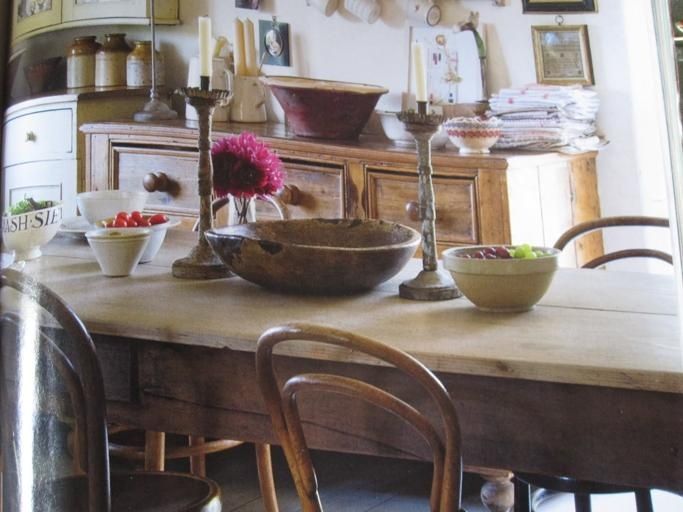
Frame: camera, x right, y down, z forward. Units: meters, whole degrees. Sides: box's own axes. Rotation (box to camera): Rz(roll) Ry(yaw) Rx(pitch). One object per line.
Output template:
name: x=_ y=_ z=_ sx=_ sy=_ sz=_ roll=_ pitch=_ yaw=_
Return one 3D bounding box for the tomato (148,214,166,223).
tomato: x=-0.273 y=-0.052 z=1.031 sx=0.016 sy=0.011 sz=0.019 roll=-1 pitch=0 yaw=-25

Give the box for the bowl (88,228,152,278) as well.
bowl: x=-0.296 y=-0.005 z=0.913 sx=0.074 sy=0.047 sz=0.072 roll=0 pitch=1 yaw=0

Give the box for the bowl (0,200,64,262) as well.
bowl: x=-0.270 y=-0.019 z=0.606 sx=0.058 sy=0.041 sz=0.059 roll=-2 pitch=11 yaw=0

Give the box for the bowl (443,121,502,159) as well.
bowl: x=0.266 y=-0.235 z=1.413 sx=0.116 sy=0.063 sz=0.113 roll=-2 pitch=10 yaw=0

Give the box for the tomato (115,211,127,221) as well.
tomato: x=-0.328 y=-0.056 z=1.028 sx=0.016 sy=0.010 sz=0.018 roll=-1 pitch=1 yaw=-4

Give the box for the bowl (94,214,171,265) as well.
bowl: x=-0.299 y=-0.032 z=1.028 sx=0.098 sy=0.045 sz=0.081 roll=-3 pitch=6 yaw=-17

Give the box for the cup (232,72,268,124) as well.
cup: x=-0.225 y=-0.396 z=1.752 sx=0.099 sy=0.107 sz=0.103 roll=-2 pitch=20 yaw=1

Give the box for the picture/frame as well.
picture/frame: x=0.290 y=-0.260 z=0.904 sx=0.006 sy=0.075 sz=0.081 roll=-34 pitch=32 yaw=-31

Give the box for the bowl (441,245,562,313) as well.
bowl: x=0.175 y=0.029 z=0.748 sx=0.095 sy=0.046 sz=0.091 roll=0 pitch=-1 yaw=0

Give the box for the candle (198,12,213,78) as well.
candle: x=-0.173 y=-0.266 z=0.889 sx=0.019 sy=0.074 sz=0.018 roll=-5 pitch=19 yaw=-25

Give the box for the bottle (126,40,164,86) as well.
bottle: x=-0.203 y=-0.199 z=0.720 sx=0.041 sy=0.042 sz=0.039 roll=2 pitch=21 yaw=-1

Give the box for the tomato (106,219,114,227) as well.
tomato: x=-0.342 y=-0.046 z=1.021 sx=0.015 sy=0.010 sz=0.014 roll=3 pitch=-2 yaw=-27

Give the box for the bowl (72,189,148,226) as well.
bowl: x=-0.377 y=-0.074 z=1.122 sx=0.104 sy=0.052 sz=0.098 roll=-4 pitch=-11 yaw=-1

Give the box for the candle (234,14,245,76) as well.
candle: x=-0.251 y=-0.506 z=1.703 sx=0.029 sy=0.136 sz=0.051 roll=-3 pitch=6 yaw=-7
